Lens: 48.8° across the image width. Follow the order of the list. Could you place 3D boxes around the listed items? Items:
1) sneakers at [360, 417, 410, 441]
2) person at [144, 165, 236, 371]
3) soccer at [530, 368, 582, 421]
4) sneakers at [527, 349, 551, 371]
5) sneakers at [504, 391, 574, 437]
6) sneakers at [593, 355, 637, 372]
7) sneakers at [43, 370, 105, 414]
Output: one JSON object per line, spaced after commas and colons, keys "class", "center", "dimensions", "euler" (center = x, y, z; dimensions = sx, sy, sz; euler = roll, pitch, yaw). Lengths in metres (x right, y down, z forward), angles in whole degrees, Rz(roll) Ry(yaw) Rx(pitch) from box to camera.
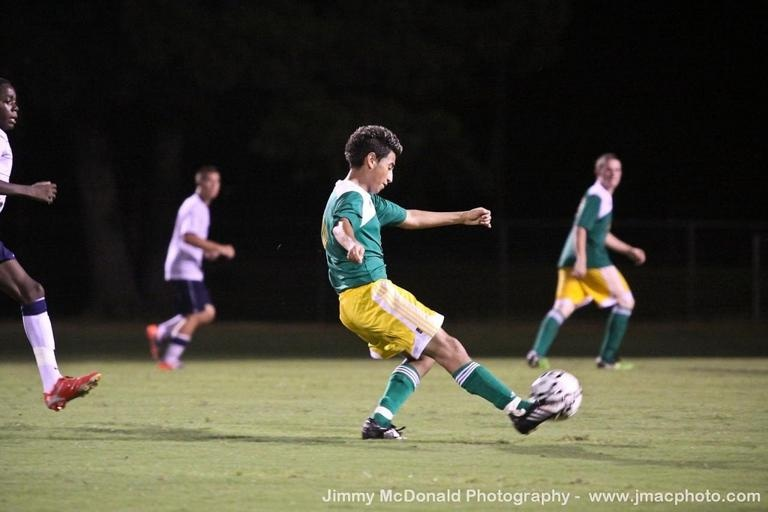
{"class": "sneakers", "center": [0.016, 1.446, 7.089], "dimensions": [0.402, 0.151, 0.151], "euler": [2, 3, -23]}
{"class": "person", "center": [-2.393, 0.193, 10.466], "dimensions": [0.574, 2.613, 1.275], "euler": [-2, 5, -41]}
{"class": "soccer", "center": [1.392, 1.076, 6.869], "dimensions": [0.372, 0.413, 0.403], "euler": [-1, -44, 12]}
{"class": "sneakers", "center": [2.079, 1.391, 11.306], "dimensions": [0.515, 0.208, 0.180], "euler": [10, -21, -38]}
{"class": "sneakers", "center": [1.277, 1.262, 6.839], "dimensions": [0.531, 0.197, 0.176], "euler": [14, -16, -20]}
{"class": "sneakers", "center": [3.086, 1.420, 11.200], "dimensions": [0.625, 0.228, 0.212], "euler": [-1, 3, -7]}
{"class": "sneakers", "center": [-2.782, 1.176, 7.578], "dimensions": [0.569, 0.257, 0.200], "euler": [-35, -23, 3]}
